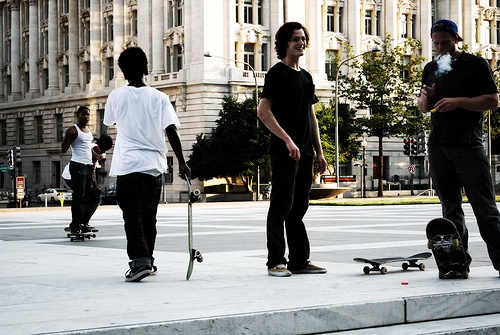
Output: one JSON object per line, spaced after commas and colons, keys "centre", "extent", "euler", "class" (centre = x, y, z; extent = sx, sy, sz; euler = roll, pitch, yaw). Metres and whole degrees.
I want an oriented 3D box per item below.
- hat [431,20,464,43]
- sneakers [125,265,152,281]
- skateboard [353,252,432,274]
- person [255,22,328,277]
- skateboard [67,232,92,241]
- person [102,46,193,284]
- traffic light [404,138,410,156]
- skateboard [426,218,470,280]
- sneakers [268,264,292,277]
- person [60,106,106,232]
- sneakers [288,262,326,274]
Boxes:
{"centre": [2.271, -1.554, 9.124], "extent": [0.326, 0.164, 0.233], "euler": [4, 3, -29], "class": "hat"}
{"centre": [-1.207, 1.168, 8.968], "extent": [0.342, 0.136, 0.126], "euler": [-8, 3, 26], "class": "sneakers"}
{"centre": [1.750, 1.119, 9.622], "extent": [1.366, 0.208, 0.320], "euler": [0, -1, -35], "class": "skateboard"}
{"centre": [0.522, -0.249, 9.491], "extent": [0.833, 2.988, 0.574], "euler": [-2, 1, -18], "class": "person"}
{"centre": [-2.893, 1.157, 13.707], "extent": [0.442, 0.120, 0.508], "euler": [-2, 0, -19], "class": "skateboard"}
{"centre": [-1.249, -0.123, 9.540], "extent": [0.912, 1.970, 1.128], "euler": [-2, 1, -12], "class": "person"}
{"centre": [7.935, -1.046, 40.237], "extent": [0.259, 0.791, 0.853], "euler": [-1, 1, 13], "class": "traffic light"}
{"centre": [2.223, 0.891, 8.961], "extent": [0.449, 0.666, 0.184], "euler": [-1, 1, 13], "class": "skateboard"}
{"centre": [0.347, 1.185, 9.241], "extent": [0.252, 0.092, 0.117], "euler": [-4, -5, 32], "class": "sneakers"}
{"centre": [-2.871, 0.030, 13.584], "extent": [0.548, 1.608, 0.814], "euler": [-1, 1, 11], "class": "person"}
{"centre": [0.681, 1.168, 9.446], "extent": [0.448, 0.136, 0.147], "euler": [-1, -5, 9], "class": "sneakers"}
